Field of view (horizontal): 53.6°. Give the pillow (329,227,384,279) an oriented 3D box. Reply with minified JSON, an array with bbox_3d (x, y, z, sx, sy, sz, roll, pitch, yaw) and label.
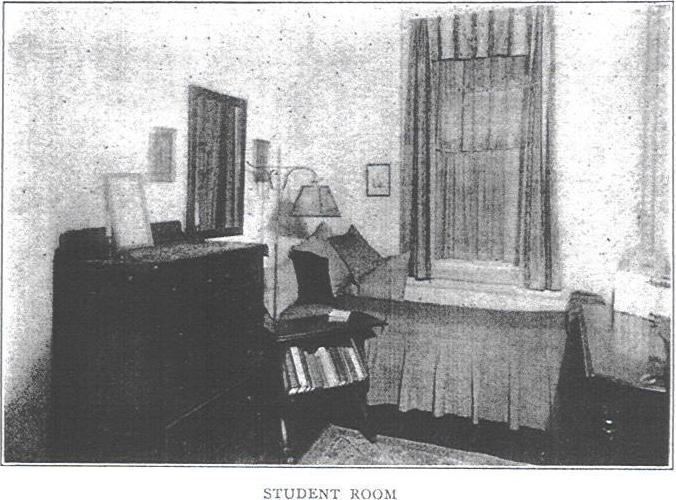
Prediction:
[{"bbox_3d":[0.133,0.027,4.545,0.264,0.353,0.107,-34,9,3],"label":"pillow"}]

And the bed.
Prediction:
[{"bbox_3d":[0.791,0.335,4.843,1.662,1.018,1.007,-3,27,26],"label":"bed"}]

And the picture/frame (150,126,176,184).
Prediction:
[{"bbox_3d":[-1.166,-0.636,4.442,0.183,0.371,0.035,-5,23,-26],"label":"picture/frame"}]

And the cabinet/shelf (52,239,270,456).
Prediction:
[{"bbox_3d":[-1.268,0.620,4.907,1.338,1.457,1.375,0,-1,-11],"label":"cabinet/shelf"}]

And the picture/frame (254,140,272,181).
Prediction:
[{"bbox_3d":[-0.505,-0.592,4.518,0.115,0.283,0.047,7,9,20],"label":"picture/frame"}]

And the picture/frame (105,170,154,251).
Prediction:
[{"bbox_3d":[-1.353,-0.257,4.344,0.277,0.516,0.155,-6,-13,-17],"label":"picture/frame"}]

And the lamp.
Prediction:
[{"bbox_3d":[-0.211,-0.042,4.498,0.456,1.060,0.187,0,7,-5],"label":"lamp"}]

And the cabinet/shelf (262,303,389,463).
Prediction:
[{"bbox_3d":[-0.079,0.905,4.954,1.011,1.204,0.935,0,8,-2],"label":"cabinet/shelf"}]
